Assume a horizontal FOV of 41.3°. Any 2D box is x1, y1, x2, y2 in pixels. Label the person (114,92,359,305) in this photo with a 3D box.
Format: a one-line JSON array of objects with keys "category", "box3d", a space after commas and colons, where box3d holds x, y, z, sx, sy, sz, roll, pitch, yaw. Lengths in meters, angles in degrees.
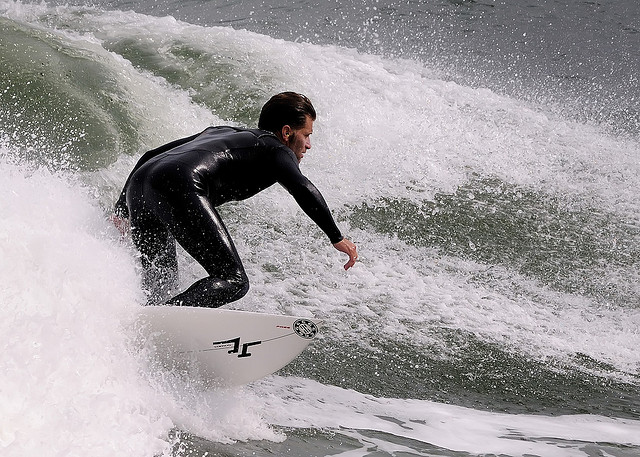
[{"category": "person", "box3d": [-0.747, -0.129, 6.886, 1.865, 0.879, 1.412, -25, 69, 0]}]
